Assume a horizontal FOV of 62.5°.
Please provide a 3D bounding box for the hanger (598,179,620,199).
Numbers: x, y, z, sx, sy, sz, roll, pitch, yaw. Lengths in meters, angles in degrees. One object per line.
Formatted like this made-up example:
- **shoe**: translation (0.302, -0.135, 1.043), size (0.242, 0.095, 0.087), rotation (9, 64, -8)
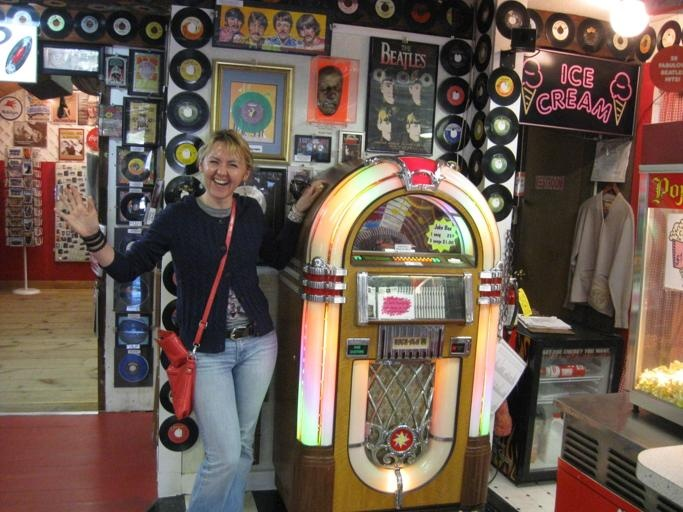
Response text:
- **hanger**: translation (2.280, -0.567, 4.774), size (0.154, 0.123, 0.318), rotation (8, 9, 23)

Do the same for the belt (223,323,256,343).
- **belt**: translation (-0.514, 0.386, 2.849), size (0.086, 0.032, 0.090), rotation (-25, -15, 29)

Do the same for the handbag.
- **handbag**: translation (-0.847, 0.589, 2.814), size (0.264, 0.411, 0.111), rotation (10, 9, 36)

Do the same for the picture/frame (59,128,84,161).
- **picture/frame**: translation (-4.525, -1.874, 9.332), size (0.502, 0.710, 0.068), rotation (-1, 7, -22)

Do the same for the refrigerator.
- **refrigerator**: translation (1.567, 1.057, 4.100), size (0.767, 1.069, 0.363), rotation (2, 8, -21)
